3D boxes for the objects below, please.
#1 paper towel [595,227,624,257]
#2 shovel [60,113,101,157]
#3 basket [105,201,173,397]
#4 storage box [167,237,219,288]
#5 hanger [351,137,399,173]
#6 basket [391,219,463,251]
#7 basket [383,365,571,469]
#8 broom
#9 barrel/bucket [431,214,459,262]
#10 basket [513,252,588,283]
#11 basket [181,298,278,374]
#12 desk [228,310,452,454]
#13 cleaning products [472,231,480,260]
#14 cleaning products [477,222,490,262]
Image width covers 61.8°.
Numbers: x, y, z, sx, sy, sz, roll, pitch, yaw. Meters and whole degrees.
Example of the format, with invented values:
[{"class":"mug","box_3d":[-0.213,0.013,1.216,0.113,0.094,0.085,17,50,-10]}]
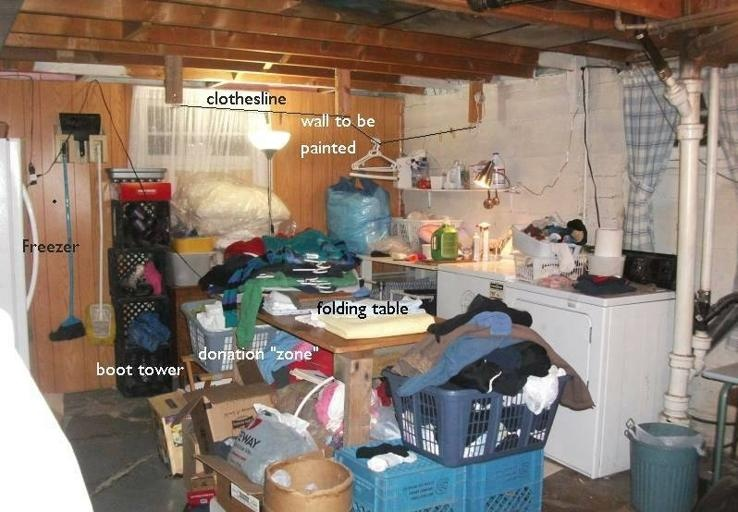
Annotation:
[{"class":"paper towel","box_3d":[1.693,-0.103,4.459,0.205,0.207,0.194,2,2,-37]},{"class":"shovel","box_3d":[-2.587,-1.105,5.498,0.420,0.474,0.064,-2,13,-19]},{"class":"basket","box_3d":[-1.996,0.373,5.518,0.459,1.747,0.281,-6,7,-35]},{"class":"storage box","box_3d":[-1.581,0.012,5.599,0.499,0.428,0.467,-3,4,-40]},{"class":"hanger","box_3d":[0.039,-1.114,6.667,0.541,0.323,0.088,0,4,-19]},{"class":"basket","box_3d":[0.611,-0.215,6.082,0.517,0.185,0.347,0,3,-34]},{"class":"basket","box_3d":[0.564,0.831,3.183,0.692,0.288,0.493,-1,4,-35]},{"class":"broom","box_3d":[-2.770,-0.129,5.526,0.287,1.814,0.133,-5,6,-28]},{"class":"barrel/bucket","box_3d":[0.663,-0.145,5.426,0.247,0.351,0.224,-5,7,-39]},{"class":"basket","box_3d":[1.338,0.079,4.524,0.517,0.184,0.204,-1,5,9]},{"class":"basket","box_3d":[-0.994,0.620,4.610,0.422,0.841,0.645,23,-13,-21]},{"class":"desk","box_3d":[-0.053,0.606,3.765,0.882,0.768,0.855,0,9,-33]},{"class":"cleaning products","box_3d":[0.939,-0.084,5.372,0.061,0.231,0.162,0,6,17]},{"class":"cleaning products","box_3d":[0.984,-0.165,5.362,0.093,0.242,0.086,2,-15,-16]}]
